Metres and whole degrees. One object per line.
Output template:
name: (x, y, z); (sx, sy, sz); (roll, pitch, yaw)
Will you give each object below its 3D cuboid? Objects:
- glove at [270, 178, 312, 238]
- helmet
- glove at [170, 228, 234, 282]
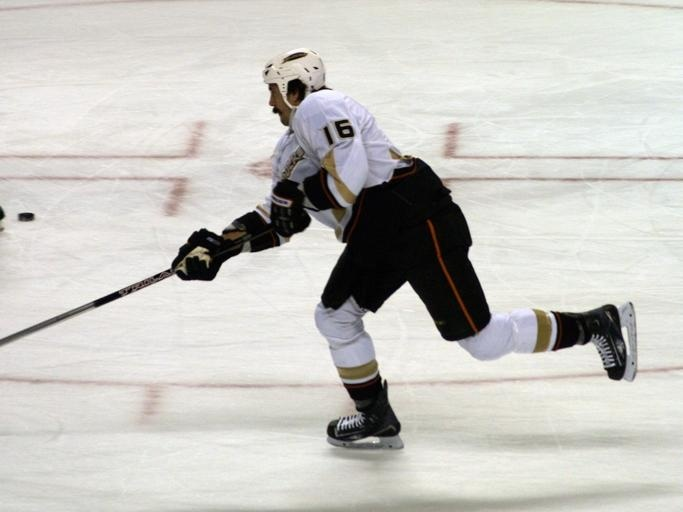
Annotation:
glove: (-0.218, -0.214, 3.608); (0.188, 0.180, 0.205); (7, 36, 17)
helmet: (-0.233, -0.759, 3.533); (0.316, 0.204, 0.205); (-17, 33, -16)
glove: (-0.601, 0.003, 3.551); (0.271, 0.105, 0.228); (-31, 35, 7)
